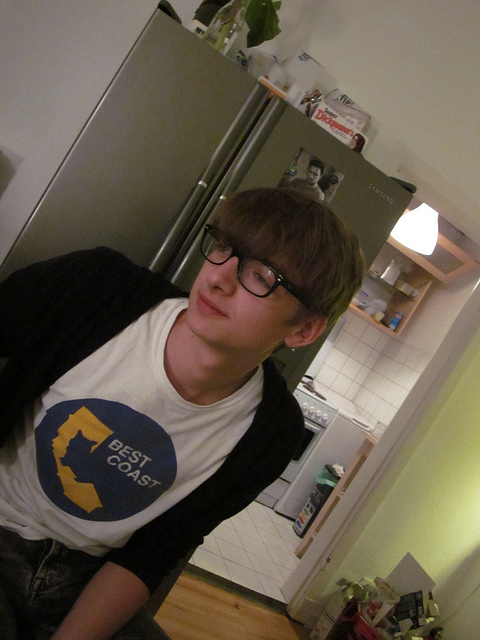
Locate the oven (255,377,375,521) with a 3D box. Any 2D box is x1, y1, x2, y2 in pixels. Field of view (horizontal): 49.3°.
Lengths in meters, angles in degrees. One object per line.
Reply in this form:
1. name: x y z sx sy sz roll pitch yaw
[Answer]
1. oven: 0.477 0.990 3.807 0.607 0.759 0.625 29 -3 40
